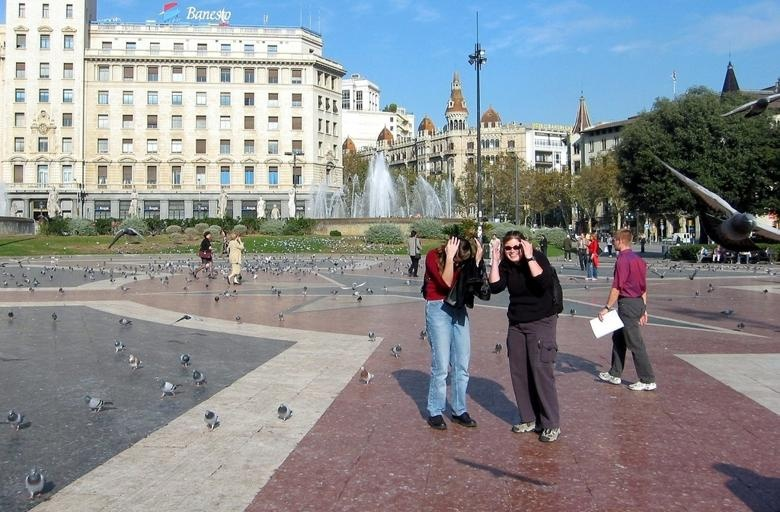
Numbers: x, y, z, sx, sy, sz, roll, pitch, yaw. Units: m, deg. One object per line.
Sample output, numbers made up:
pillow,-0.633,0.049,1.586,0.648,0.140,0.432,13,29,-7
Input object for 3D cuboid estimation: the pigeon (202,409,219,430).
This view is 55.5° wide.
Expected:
pigeon,-2.551,2.311,10.599,0.215,0.269,0.356,-3,10,-14

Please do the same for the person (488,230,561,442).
person,1.824,1.119,10.614,1.215,2.706,1.299,0,1,-29

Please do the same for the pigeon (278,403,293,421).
pigeon,-1.541,2.265,10.866,0.224,0.243,0.307,-1,10,-8

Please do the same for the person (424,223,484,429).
person,0.893,1.081,10.461,0.864,2.726,0.516,0,10,2

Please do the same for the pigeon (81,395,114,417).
pigeon,-4.355,2.202,11.126,0.419,0.261,0.428,-7,12,-35

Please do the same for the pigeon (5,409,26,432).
pigeon,-5.324,2.340,10.527,0.185,0.272,0.457,-9,-8,-5

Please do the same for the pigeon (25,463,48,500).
pigeon,-4.315,2.752,9.019,0.213,0.361,0.569,-1,-6,-23

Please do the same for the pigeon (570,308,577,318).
pigeon,4.553,1.424,18.399,0.175,0.224,0.195,0,-2,5

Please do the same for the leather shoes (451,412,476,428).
leather shoes,1.068,2.363,10.672,0.375,0.156,0.156,2,0,41

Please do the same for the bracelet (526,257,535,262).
bracelet,1.920,0.043,10.066,0.094,0.062,0.082,4,-21,-24

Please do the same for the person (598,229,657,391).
person,3.961,0.911,12.331,1.037,2.804,0.936,1,-1,32
